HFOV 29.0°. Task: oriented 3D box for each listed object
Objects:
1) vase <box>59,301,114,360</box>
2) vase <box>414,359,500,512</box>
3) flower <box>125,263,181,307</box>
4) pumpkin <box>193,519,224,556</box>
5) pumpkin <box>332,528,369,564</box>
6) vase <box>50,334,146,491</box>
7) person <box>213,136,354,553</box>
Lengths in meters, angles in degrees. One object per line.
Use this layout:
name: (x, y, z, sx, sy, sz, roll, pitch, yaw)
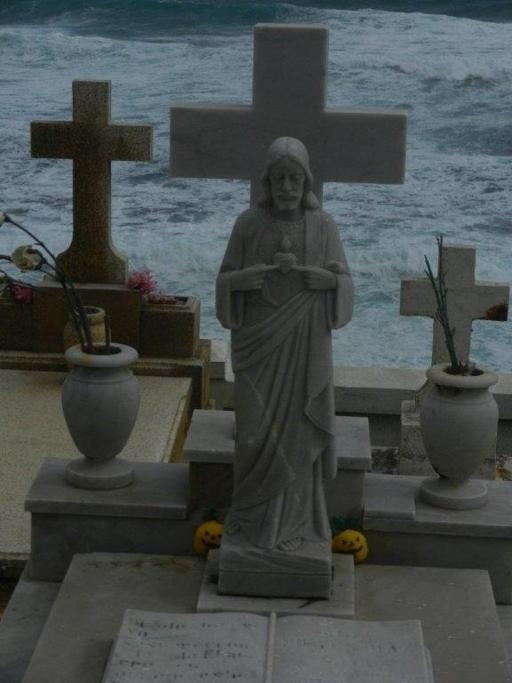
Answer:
vase: (-1.333, -0.098, 7.890, 0.438, 0.613, 0.620, 1, 8, -4)
vase: (1.009, 0.469, 4.948, 0.368, 0.678, 0.367, 2, 17, 8)
flower: (-0.911, -0.432, 8.560, 0.355, 0.335, 0.194, -3, -11, -11)
pumpkin: (-0.220, 0.930, 4.749, 0.132, 0.167, 0.068, 19, 6, 21)
pumpkin: (0.461, 0.988, 4.754, 0.139, 0.079, 0.175, 10, -5, 35)
vase: (-0.787, 0.372, 5.044, 0.401, 0.681, 0.380, -4, 17, -10)
person: (0.121, 0.020, 4.343, 0.603, 1.784, 0.415, 1, 17, 5)
